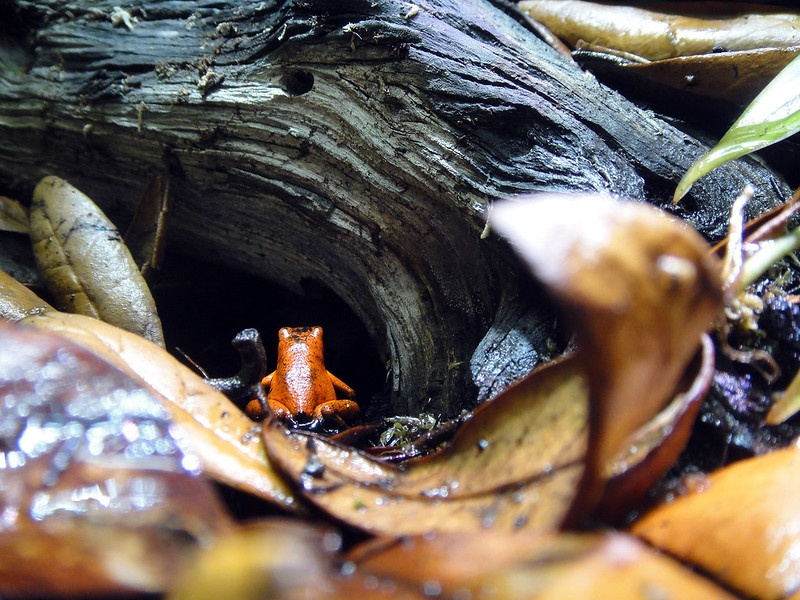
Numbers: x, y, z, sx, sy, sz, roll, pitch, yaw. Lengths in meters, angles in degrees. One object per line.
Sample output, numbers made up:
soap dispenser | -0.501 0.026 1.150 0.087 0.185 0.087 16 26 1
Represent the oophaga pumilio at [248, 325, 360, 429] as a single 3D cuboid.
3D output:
oophaga pumilio | -0.308 0.296 2.984 0.249 0.146 0.376 3 32 -14
